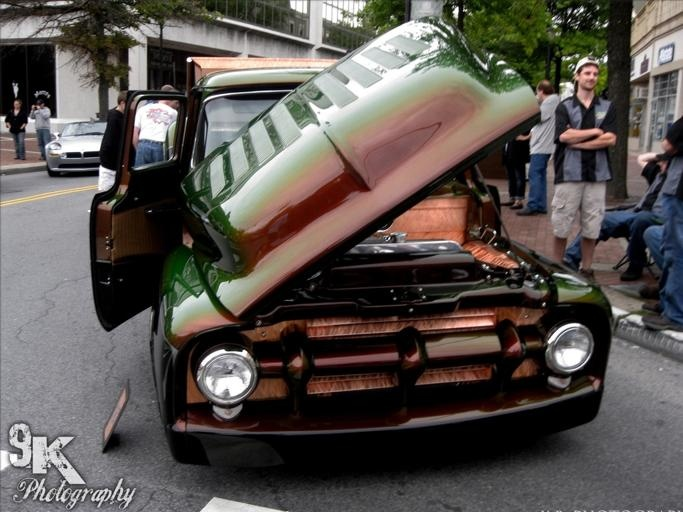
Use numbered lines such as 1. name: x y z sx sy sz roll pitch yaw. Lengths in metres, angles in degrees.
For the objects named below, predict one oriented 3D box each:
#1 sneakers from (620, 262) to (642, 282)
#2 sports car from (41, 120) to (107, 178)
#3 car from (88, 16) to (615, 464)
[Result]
1. sneakers: 3.571 0.215 6.690 0.414 0.164 0.136 -3 6 -30
2. sports car: -9.092 -4.033 19.021 2.128 1.483 3.741 -1 21 -18
3. car: -0.258 -0.730 4.762 3.387 2.168 4.982 -3 25 -12
